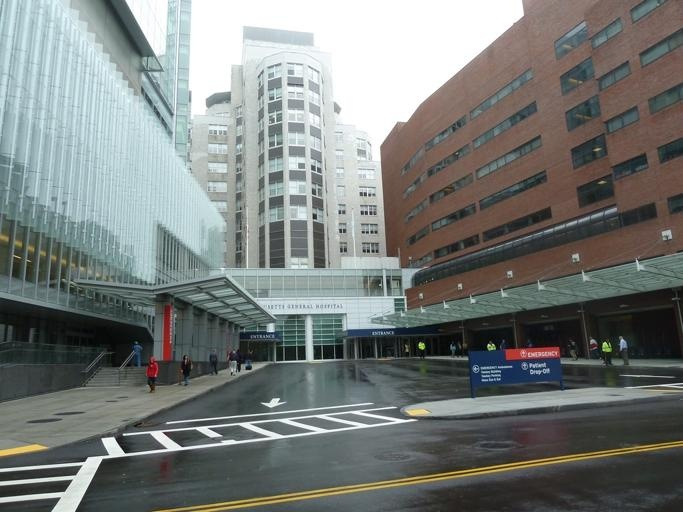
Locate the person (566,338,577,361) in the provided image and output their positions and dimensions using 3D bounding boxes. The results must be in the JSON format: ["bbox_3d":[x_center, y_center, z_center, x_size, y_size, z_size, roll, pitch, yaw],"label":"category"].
[{"bbox_3d":[18.381,7.384,40.859,0.437,1.654,1.608,-9,-16,19],"label":"person"}]
